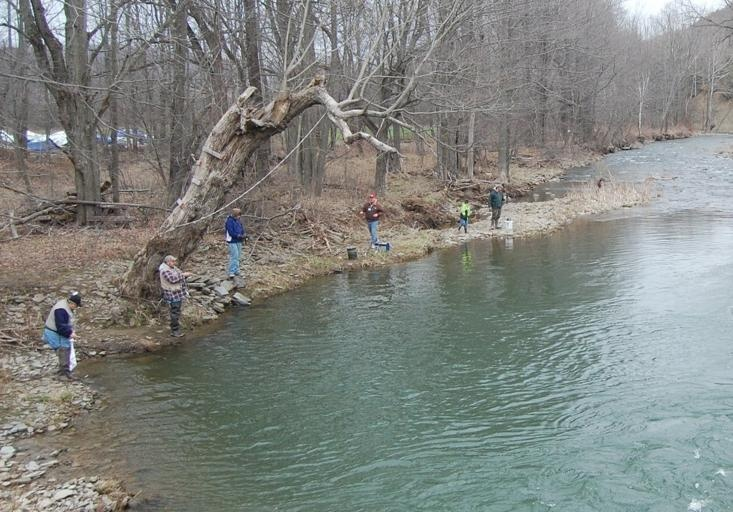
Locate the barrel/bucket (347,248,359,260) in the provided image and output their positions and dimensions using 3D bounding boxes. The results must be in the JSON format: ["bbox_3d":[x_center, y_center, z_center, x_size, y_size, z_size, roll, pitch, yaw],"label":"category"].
[{"bbox_3d":[-0.484,-0.074,24.998,0.500,0.400,0.463,-2,9,0],"label":"barrel/bucket"}]

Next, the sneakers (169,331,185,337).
[{"bbox_3d":[-5.485,2.262,17.832,0.341,0.124,0.156,-1,4,15],"label":"sneakers"}]

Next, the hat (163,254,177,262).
[{"bbox_3d":[-5.643,0.075,17.577,0.282,0.189,0.194,-4,17,-9],"label":"hat"}]

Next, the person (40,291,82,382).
[{"bbox_3d":[-7.600,2.021,15.527,0.854,1.997,0.584,-7,4,8],"label":"person"}]

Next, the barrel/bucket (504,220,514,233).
[{"bbox_3d":[6.851,-1.428,29.452,0.386,0.694,0.928,-6,4,11],"label":"barrel/bucket"}]

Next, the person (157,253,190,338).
[{"bbox_3d":[-5.629,1.141,18.078,0.725,1.965,1.132,-9,4,-19],"label":"person"}]
